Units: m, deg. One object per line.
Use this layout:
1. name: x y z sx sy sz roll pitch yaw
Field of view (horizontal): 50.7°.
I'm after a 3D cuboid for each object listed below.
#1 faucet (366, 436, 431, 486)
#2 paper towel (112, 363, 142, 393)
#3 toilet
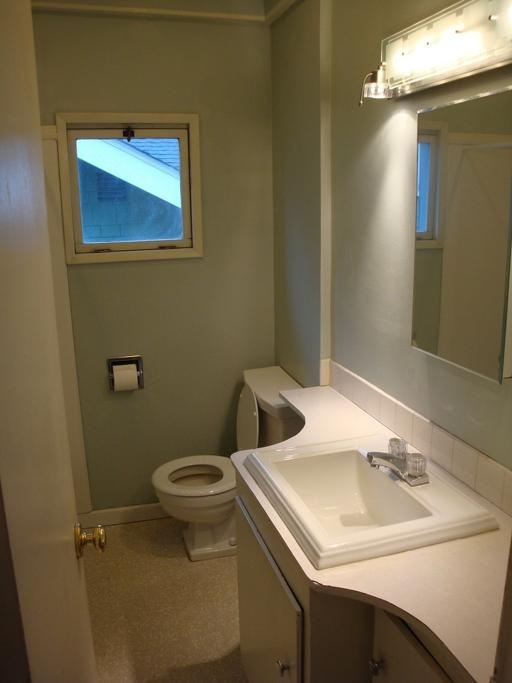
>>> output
1. faucet: 0.372 0.291 1.449 0.062 0.108 0.241 -6 22 -10
2. paper towel: -0.656 0.179 2.736 0.119 0.183 0.110 -6 22 -15
3. toilet: -0.170 0.638 2.634 0.491 0.811 0.468 -3 21 -10
